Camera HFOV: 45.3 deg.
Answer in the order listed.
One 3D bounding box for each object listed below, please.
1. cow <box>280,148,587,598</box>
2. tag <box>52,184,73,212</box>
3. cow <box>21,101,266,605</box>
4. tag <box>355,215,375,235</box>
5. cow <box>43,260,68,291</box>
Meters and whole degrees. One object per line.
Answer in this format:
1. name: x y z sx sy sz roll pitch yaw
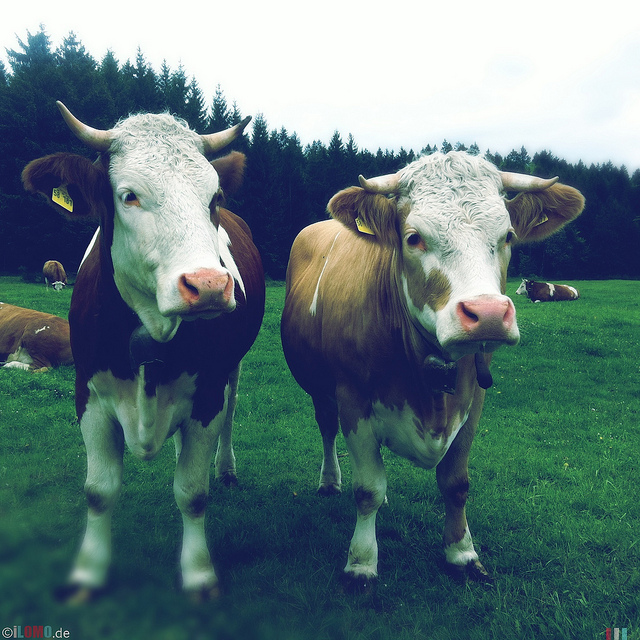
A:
1. cow: 0.514 0.367 6.823 1.315 3.581 4.488 -4 6 -14
2. tag: -1.702 -0.814 5.057 0.007 0.222 0.125 -2 -7 35
3. cow: -1.164 0.259 5.102 1.413 3.249 1.126 2 5 13
4. tag: 0.320 -0.678 5.489 0.136 0.126 0.066 1 5 1
5. cow: -8.431 -1.390 24.362 0.581 1.333 2.017 -2 13 -21
